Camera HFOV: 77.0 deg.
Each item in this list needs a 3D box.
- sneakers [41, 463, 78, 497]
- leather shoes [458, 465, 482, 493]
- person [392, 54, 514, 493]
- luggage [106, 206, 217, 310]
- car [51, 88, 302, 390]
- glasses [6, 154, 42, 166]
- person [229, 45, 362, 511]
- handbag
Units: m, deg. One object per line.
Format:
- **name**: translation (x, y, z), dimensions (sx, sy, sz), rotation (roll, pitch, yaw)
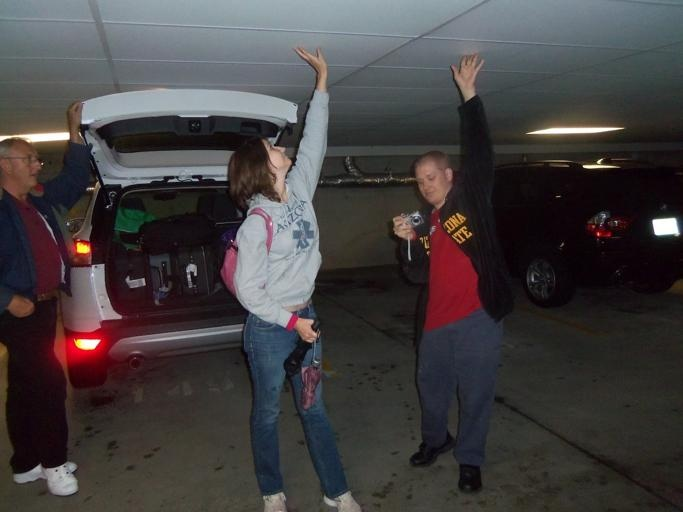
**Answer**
- **sneakers**: translation (-2.042, 1.610, 3.127), dimensions (0.132, 0.153, 0.380), rotation (-8, 0, -41)
- **leather shoes**: translation (0.885, 1.493, 2.984), dimensions (0.095, 0.245, 0.101), rotation (0, -9, 8)
- **person**: translation (0.758, 0.267, 2.979), dimensions (0.731, 2.606, 0.505), rotation (8, 17, 39)
- **luggage**: translation (-1.780, 0.075, 4.354), dimensions (0.768, 0.335, 1.105), rotation (-27, -11, 2)
- **car**: translation (-2.142, -0.269, 5.269), dimensions (2.268, 2.530, 3.968), rotation (-6, 11, -34)
- **glasses**: translation (-2.273, -0.683, 3.118), dimensions (0.112, 0.075, 0.219), rotation (2, 15, 19)
- **person**: translation (-0.334, 0.394, 2.793), dimensions (0.662, 2.551, 0.771), rotation (-5, 13, -13)
- **handbag**: translation (-0.622, -0.005, 2.686), dimensions (0.316, 0.578, 0.390), rotation (11, 1, -21)
